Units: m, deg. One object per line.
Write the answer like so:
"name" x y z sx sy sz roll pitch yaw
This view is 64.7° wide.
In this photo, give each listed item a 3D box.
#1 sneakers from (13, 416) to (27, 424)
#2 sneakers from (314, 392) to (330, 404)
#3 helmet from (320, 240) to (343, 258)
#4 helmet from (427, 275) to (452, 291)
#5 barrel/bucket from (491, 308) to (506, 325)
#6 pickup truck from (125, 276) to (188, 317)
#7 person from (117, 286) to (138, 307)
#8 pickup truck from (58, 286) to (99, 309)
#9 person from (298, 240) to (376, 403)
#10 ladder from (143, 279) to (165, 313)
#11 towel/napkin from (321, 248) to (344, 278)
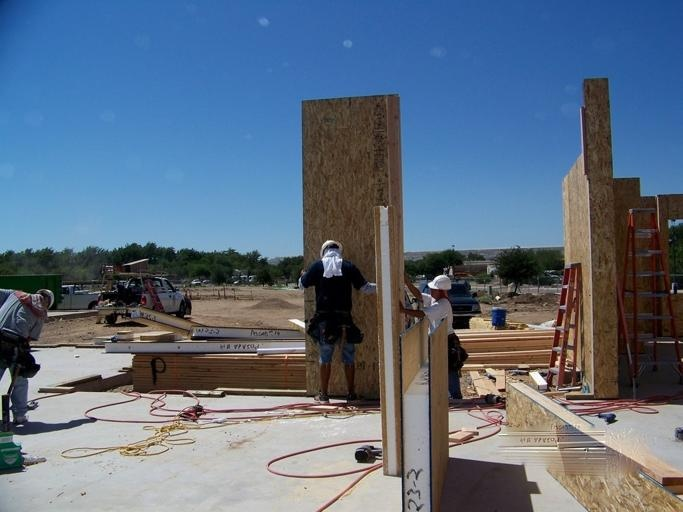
"sneakers" -3.723 1.885 6.247 0.084 0.064 0.113 3 -13 -36
"sneakers" -0.247 1.828 6.980 0.093 0.096 0.202 1 -2 -13
"helmet" -0.131 -0.076 7.038 0.189 0.210 0.244 2 3 0
"helmet" 1.239 0.314 6.708 0.239 0.130 0.189 9 3 10
"barrel/bucket" 4.108 1.586 14.050 0.412 0.474 0.431 0 -3 0
"pickup truck" -7.282 1.598 21.384 1.478 1.261 3.213 0 0 14
"person" -7.862 1.454 19.797 0.818 0.686 0.181 -1 -4 6
"pickup truck" -13.981 2.252 28.299 2.365 1.094 1.472 -1 2 -2
"person" -0.088 0.821 6.914 0.878 2.087 0.640 -1 -4 2
"ladder" -7.032 1.411 20.186 0.622 1.256 0.983 -1 -4 7
"towel/napkin" -0.111 0.094 6.789 0.263 0.361 0.233 -1 -4 0
